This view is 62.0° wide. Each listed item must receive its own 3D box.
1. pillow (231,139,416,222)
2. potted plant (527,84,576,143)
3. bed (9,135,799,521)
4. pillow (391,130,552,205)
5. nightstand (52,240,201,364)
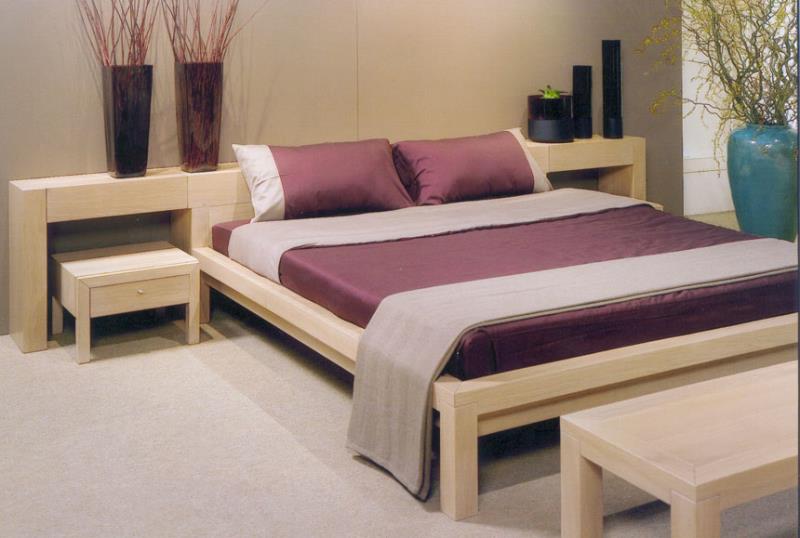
[{"bbox_3d":[-0.445,-0.579,3.464,1.033,0.349,0.417,-4,18,-19],"label":"pillow"},{"bbox_3d":[0.825,-0.848,3.674,0.292,0.306,0.288,-7,10,-42],"label":"potted plant"},{"bbox_3d":[-0.112,0.193,2.750,2.081,0.593,1.818,-6,11,-30],"label":"bed"},{"bbox_3d":[0.394,-0.542,3.592,0.676,0.200,0.428,-6,31,-15],"label":"pillow"},{"bbox_3d":[-1.312,0.064,3.118,0.648,0.386,0.468,-8,15,-40],"label":"nightstand"}]
